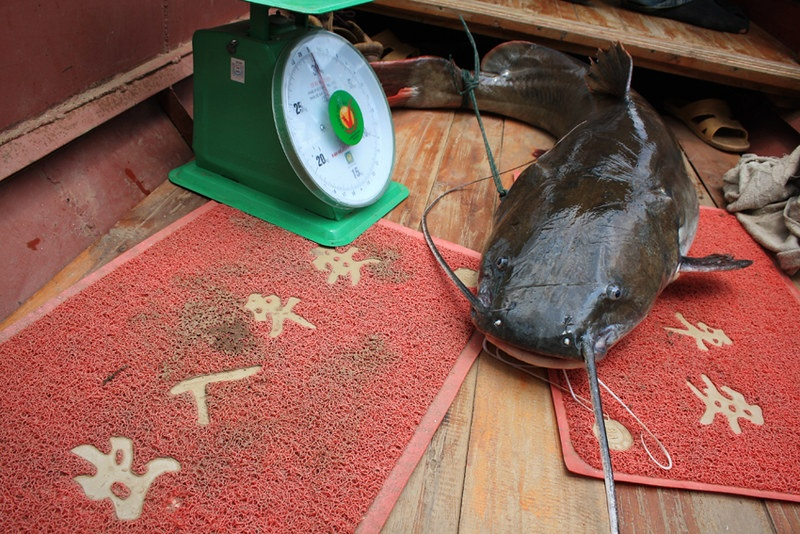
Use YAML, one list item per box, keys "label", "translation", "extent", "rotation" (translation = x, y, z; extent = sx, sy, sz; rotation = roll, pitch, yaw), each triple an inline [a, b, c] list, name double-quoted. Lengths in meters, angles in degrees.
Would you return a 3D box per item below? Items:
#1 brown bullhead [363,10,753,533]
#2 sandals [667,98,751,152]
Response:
- label: "brown bullhead"
  translation: [0.646, -0.204, 2.519]
  extent: [1.123, 0.524, 1.712]
  rotation: [13, 46, 13]
- label: "sandals"
  translation: [1.387, -0.638, 2.951]
  extent: [0.146, 0.116, 0.411]
  rotation: [-11, 35, -7]
